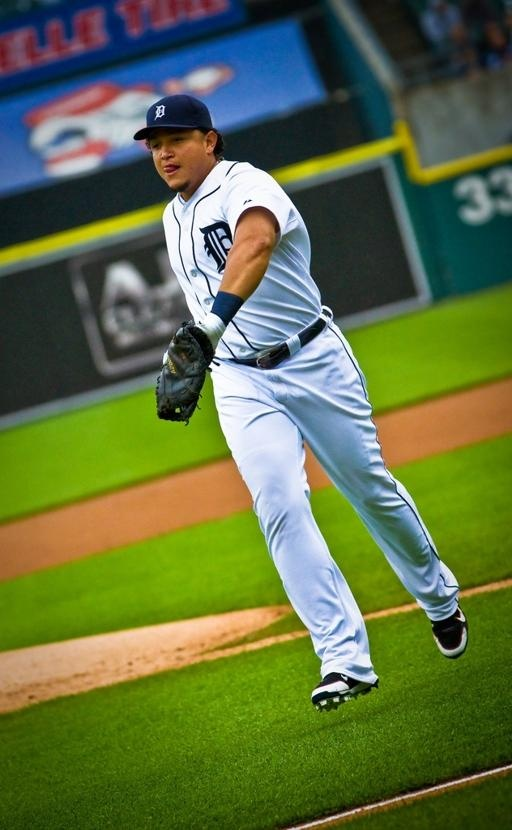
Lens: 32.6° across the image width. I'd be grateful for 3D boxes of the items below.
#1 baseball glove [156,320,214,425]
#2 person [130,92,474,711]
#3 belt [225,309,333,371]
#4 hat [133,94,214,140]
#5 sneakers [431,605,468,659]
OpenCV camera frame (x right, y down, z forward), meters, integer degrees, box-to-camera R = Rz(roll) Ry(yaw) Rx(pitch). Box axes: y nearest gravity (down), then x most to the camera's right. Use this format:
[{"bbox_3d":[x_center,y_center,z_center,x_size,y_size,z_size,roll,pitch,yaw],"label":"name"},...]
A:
[{"bbox_3d":[-0.157,-0.106,2.284,0.067,0.258,0.145,-11,34,-43],"label":"baseball glove"},{"bbox_3d":[0.047,-0.038,2.510,0.694,1.699,0.888,-25,27,-33],"label":"person"},{"bbox_3d":[0.075,-0.245,2.534,0.224,0.058,0.171,-31,-4,3],"label":"belt"},{"bbox_3d":[-0.241,-0.828,2.502,0.189,0.081,0.134,-8,8,-40],"label":"hat"},{"bbox_3d":[0.582,0.658,2.647,0.060,0.069,0.173,-26,24,19],"label":"sneakers"}]
